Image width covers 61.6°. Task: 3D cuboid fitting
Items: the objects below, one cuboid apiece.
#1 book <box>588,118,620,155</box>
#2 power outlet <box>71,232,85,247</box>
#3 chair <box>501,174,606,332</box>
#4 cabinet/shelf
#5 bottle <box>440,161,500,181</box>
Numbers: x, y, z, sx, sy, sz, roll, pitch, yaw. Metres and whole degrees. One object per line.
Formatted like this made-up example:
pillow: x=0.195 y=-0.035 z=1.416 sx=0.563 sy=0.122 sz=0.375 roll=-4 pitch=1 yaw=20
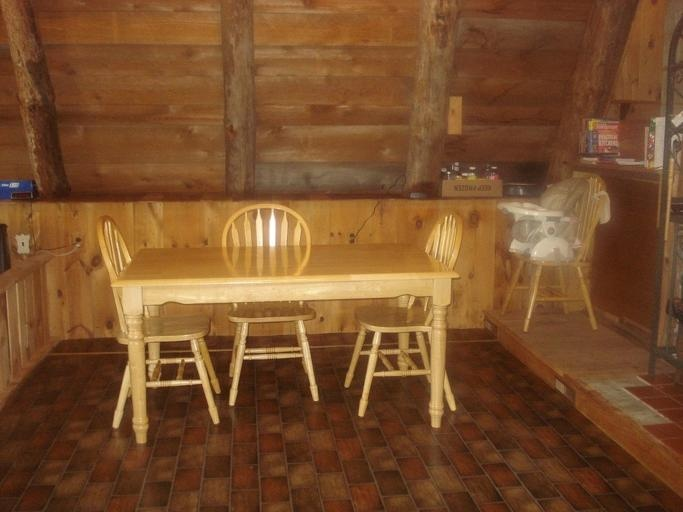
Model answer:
book: x=1.979 y=-0.916 z=4.326 sx=0.304 sy=0.311 sz=0.043 roll=0 pitch=5 yaw=-2
power outlet: x=-1.818 y=-0.124 z=3.942 sx=0.105 sy=0.098 sz=0.022 roll=-5 pitch=3 yaw=-26
chair: x=1.472 y=-0.048 z=3.998 sx=0.687 sy=1.036 sz=0.723 roll=2 pitch=20 yaw=1
cabinet/shelf: x=1.846 y=0.000 z=3.713 sx=0.411 sy=1.113 sz=1.203 roll=0 pitch=9 yaw=-2
bottle: x=1.040 y=-0.653 z=4.495 sx=0.490 sy=0.132 sz=0.533 roll=1 pitch=19 yaw=0
